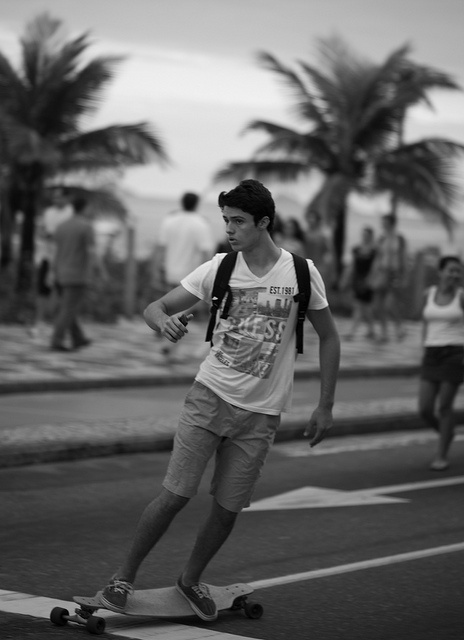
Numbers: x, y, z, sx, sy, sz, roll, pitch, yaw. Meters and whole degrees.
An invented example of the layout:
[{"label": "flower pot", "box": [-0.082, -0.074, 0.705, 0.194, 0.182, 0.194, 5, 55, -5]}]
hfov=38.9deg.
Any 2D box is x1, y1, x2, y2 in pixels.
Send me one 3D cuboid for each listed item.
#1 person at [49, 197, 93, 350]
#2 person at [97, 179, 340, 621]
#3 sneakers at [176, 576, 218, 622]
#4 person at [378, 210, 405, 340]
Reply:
[{"label": "person", "box": [-1.153, -0.312, 4.766, 0.321, 1.121, 0.779, 6, -7, -15]}, {"label": "person", "box": [-0.003, 0.258, 2.175, 0.726, 1.431, 0.340, 9, -8, -37]}, {"label": "sneakers", "box": [-0.107, 0.912, 2.144, 0.071, 0.061, 0.174, 7, 24, -49]}, {"label": "person", "box": [1.472, -0.329, 6.085, 0.290, 1.031, 0.903, 3, -6, 12]}]
